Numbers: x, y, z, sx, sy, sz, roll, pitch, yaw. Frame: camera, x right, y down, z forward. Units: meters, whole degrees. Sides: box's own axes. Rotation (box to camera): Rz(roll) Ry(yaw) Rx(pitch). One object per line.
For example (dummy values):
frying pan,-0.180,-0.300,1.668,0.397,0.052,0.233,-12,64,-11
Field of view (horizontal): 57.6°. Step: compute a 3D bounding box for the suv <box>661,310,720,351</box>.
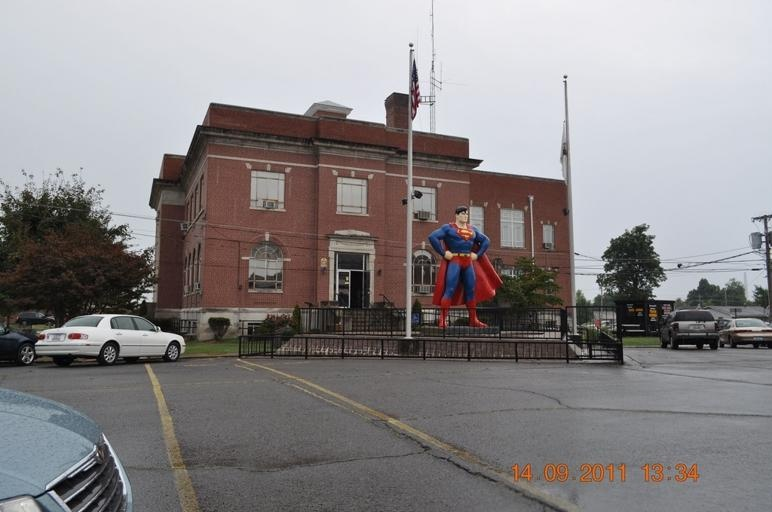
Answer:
suv,13.710,3.209,32.099,1.533,1.298,2.854,0,-1,9
